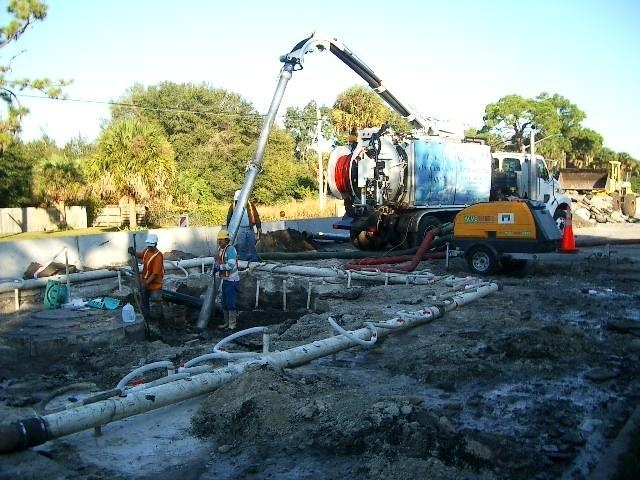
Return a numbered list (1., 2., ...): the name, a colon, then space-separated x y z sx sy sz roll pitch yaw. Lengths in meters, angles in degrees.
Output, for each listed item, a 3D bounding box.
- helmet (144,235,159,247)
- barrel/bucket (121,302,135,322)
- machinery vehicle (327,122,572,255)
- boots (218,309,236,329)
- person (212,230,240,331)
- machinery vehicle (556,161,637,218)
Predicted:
1. helmet: -3.845 0.003 9.780 0.275 0.180 0.348 5 14 -8
2. barrel/bucket: -3.541 1.337 7.969 0.225 0.297 0.372 -4 7 -24
3. machinery vehicle: 5.110 -2.479 17.430 10.288 4.609 4.208 -9 10 -31
4. boots: -1.761 1.546 8.593 0.370 0.407 0.346 -1 -4 36
5. person: -1.848 0.797 8.541 0.397 1.990 0.655 -3 7 -17
6. machinery vehicle: 21.893 -3.767 33.254 3.661 3.597 7.338 -2 -2 42
